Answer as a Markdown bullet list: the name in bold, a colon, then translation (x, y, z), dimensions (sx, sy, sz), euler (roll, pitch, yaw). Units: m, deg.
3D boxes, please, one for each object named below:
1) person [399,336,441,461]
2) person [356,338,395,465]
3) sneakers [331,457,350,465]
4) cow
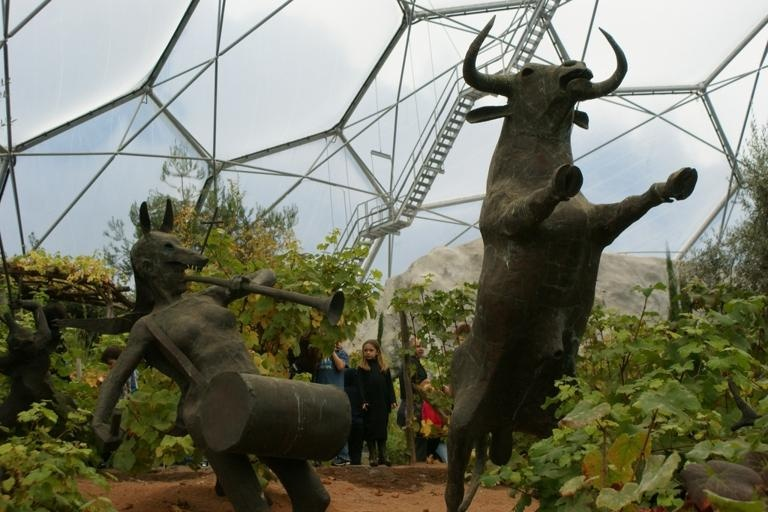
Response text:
- **person**: translation (0.721, 3.026, 15.201), dimensions (0.869, 2.804, 0.869), euler (-10, -16, 31)
- **person**: translation (-0.177, 2.768, 14.696), dimensions (0.704, 2.311, 0.905), euler (4, -11, 13)
- **sneakers**: translation (-0.858, 3.962, 14.971), dimensions (0.373, 0.102, 0.276), euler (-3, -7, 34)
- **cow**: translation (1.812, 0.195, 9.032), dimensions (2.128, 5.728, 1.309), euler (2, -12, 22)
